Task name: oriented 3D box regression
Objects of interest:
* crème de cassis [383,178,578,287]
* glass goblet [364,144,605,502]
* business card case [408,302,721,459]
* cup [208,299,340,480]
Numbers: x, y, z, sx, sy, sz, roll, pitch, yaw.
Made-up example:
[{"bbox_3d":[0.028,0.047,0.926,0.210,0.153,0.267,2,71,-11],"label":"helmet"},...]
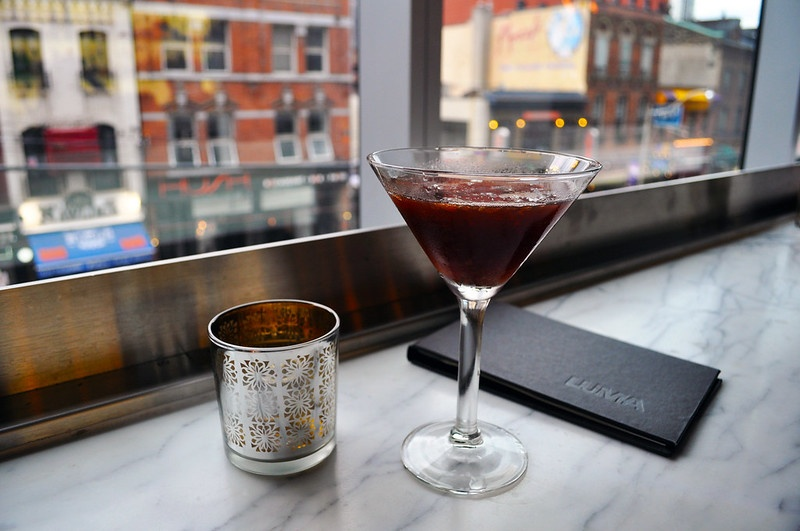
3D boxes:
[{"bbox_3d":[0.096,-0.032,0.770,0.241,0.112,0.237,6,7,29],"label":"crème de cassis"},{"bbox_3d":[0.110,0.046,0.862,0.273,0.439,0.278,-11,18,-37],"label":"glass goblet"},{"bbox_3d":[0.264,0.153,0.917,0.370,0.036,0.262,18,23,33],"label":"business card case"},{"bbox_3d":[-0.148,0.148,0.772,0.157,0.183,0.130,-7,19,-6],"label":"cup"}]
